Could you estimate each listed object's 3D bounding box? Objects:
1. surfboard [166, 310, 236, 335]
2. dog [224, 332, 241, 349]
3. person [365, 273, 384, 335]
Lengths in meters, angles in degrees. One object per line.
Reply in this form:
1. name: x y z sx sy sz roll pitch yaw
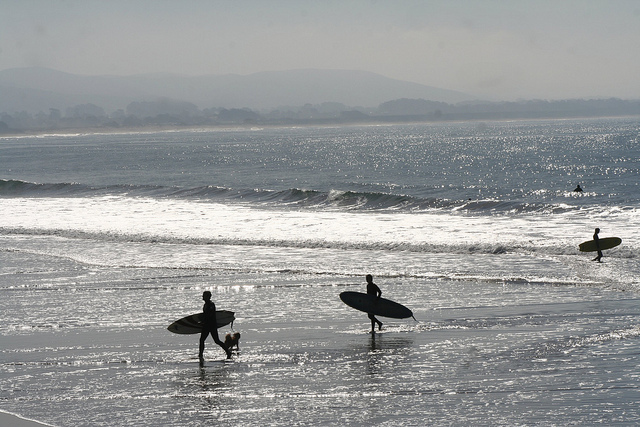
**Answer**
1. surfboard: -6.904 6.447 78.044 3.176 1.429 1.576 0 3 21
2. dog: -4.998 7.347 77.427 0.993 0.358 0.855 -2 3 -4
3. person: 3.125 5.401 79.238 0.839 3.376 1.272 -1 3 2
